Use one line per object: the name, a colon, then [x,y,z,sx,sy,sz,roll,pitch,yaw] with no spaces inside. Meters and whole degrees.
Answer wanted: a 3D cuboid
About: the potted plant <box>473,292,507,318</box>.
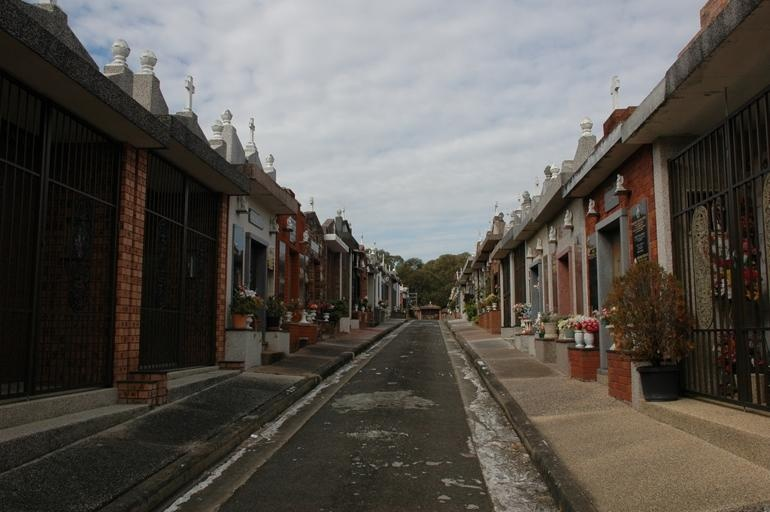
potted plant: [5.368,2.505,31.449,1.633,0.761,1.974,-2,-11,7]
